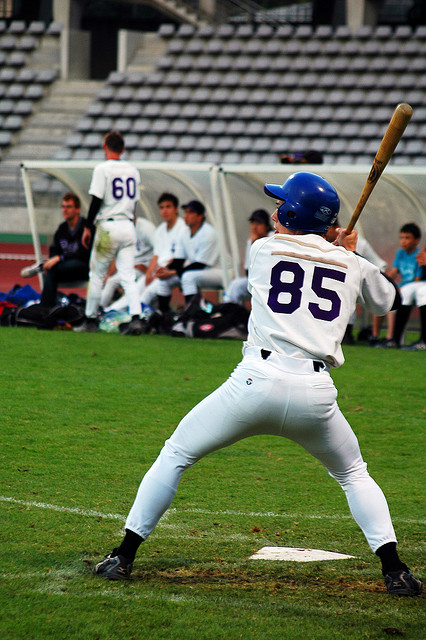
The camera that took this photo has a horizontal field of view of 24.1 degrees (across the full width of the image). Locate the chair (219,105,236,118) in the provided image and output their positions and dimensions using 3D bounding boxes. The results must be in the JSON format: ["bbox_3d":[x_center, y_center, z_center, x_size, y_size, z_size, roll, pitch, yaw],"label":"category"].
[{"bbox_3d":[0.278,-3.920,18.861,0.277,0.241,0.386,4,10,-1],"label":"chair"}]

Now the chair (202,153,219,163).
[{"bbox_3d":[-0.037,-2.880,17.854,0.305,0.156,0.565,3,10,-2],"label":"chair"}]

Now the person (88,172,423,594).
[{"bbox_3d":[0.299,0.224,3.918,1.210,1.578,0.564,5,12,3],"label":"person"}]

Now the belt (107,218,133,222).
[{"bbox_3d":[-0.810,-0.868,8.727,0.037,0.026,0.265,12,13,39],"label":"belt"}]

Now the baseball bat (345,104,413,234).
[{"bbox_3d":[0.710,-0.605,4.436,0.086,0.800,0.071,21,43,-1],"label":"baseball bat"}]
